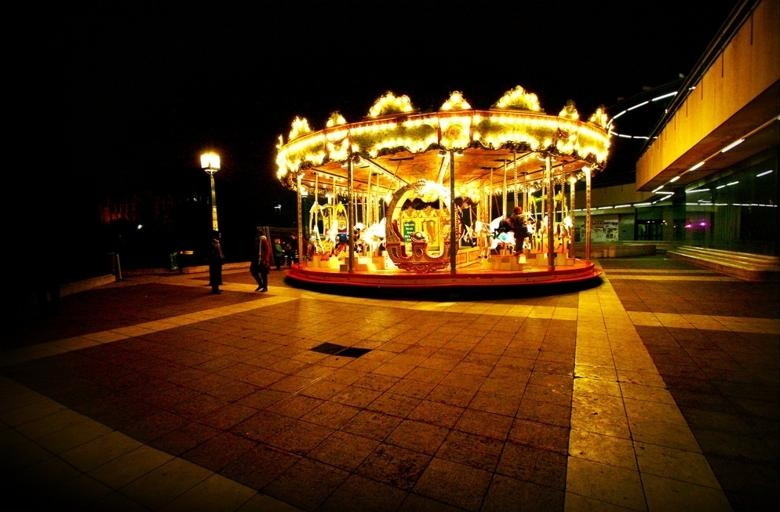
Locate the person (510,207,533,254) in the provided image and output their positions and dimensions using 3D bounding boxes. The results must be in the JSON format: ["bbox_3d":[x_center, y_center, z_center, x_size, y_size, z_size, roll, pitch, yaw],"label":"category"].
[{"bbox_3d":[4.238,-0.832,17.544,0.571,1.577,0.851,1,8,13],"label":"person"}]

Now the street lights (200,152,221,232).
[{"bbox_3d":[-6.039,-2.129,18.137,0.651,2.586,0.738,-2,3,13],"label":"street lights"}]

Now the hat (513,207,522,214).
[{"bbox_3d":[4.159,-1.514,17.316,0.257,0.216,0.194,5,46,-16],"label":"hat"}]
